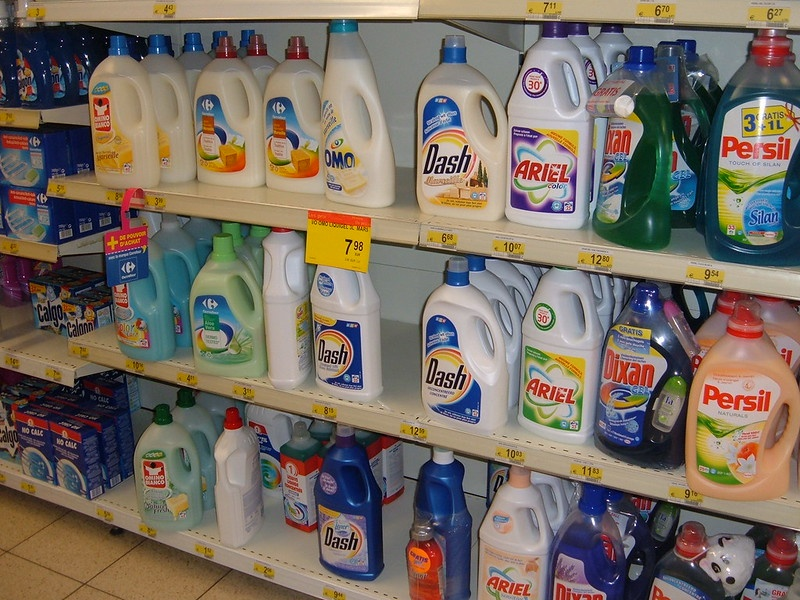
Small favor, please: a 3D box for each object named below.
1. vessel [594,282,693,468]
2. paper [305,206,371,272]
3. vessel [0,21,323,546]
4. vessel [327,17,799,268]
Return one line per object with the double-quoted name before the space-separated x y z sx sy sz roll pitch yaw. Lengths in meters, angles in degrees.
"vessel" 0.655 0.198 1.732 0.229 0.468 0.133 6 20 23
"paper" -0.183 -0.182 1.935 0.191 0.158 0.069 8 18 11
"vessel" -0.853 -0.077 2.385 1.659 1.730 0.555 9 17 25
"vessel" 0.446 -0.405 1.707 1.105 0.593 0.275 7 21 23
